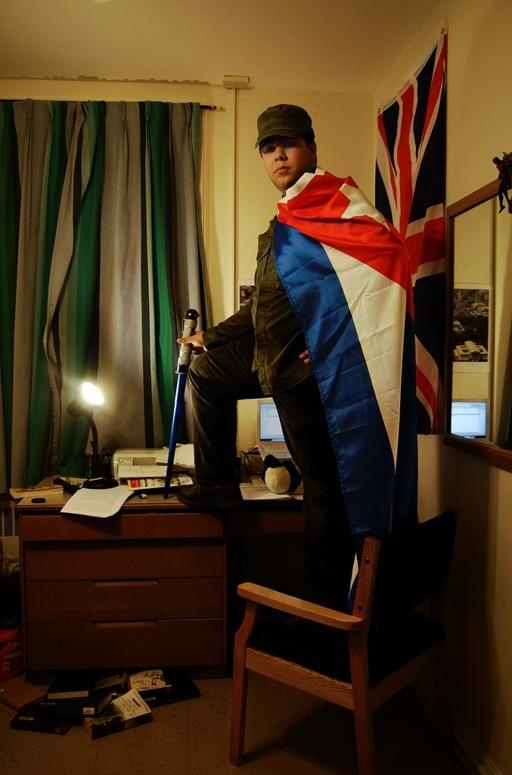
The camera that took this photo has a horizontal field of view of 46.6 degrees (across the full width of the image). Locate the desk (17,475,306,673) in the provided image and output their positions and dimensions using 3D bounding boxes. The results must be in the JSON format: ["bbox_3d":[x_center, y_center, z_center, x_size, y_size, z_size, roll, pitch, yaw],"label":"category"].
[{"bbox_3d":[-0.336,0.551,2.210,0.897,0.712,0.572,1,26,-10],"label":"desk"}]

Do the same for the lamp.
[{"bbox_3d":[-0.623,0.139,2.215,0.125,0.341,0.105,-2,34,-12],"label":"lamp"}]

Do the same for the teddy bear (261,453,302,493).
[{"bbox_3d":[0.086,0.302,2.027,0.092,0.147,0.055,-22,-5,34],"label":"teddy bear"}]

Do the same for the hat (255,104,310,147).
[{"bbox_3d":[0.074,-0.740,1.664,0.089,0.070,0.141,-1,11,20],"label":"hat"}]

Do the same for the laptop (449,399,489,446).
[{"bbox_3d":[0.616,0.097,1.737,0.061,0.108,0.128,1,-2,-5],"label":"laptop"}]

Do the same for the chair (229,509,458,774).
[{"bbox_3d":[0.286,0.495,1.747,0.525,0.976,0.605,1,-2,38],"label":"chair"}]

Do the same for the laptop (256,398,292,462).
[{"bbox_3d":[0.063,0.167,2.416,0.181,0.185,0.175,-1,4,-7],"label":"laptop"}]
